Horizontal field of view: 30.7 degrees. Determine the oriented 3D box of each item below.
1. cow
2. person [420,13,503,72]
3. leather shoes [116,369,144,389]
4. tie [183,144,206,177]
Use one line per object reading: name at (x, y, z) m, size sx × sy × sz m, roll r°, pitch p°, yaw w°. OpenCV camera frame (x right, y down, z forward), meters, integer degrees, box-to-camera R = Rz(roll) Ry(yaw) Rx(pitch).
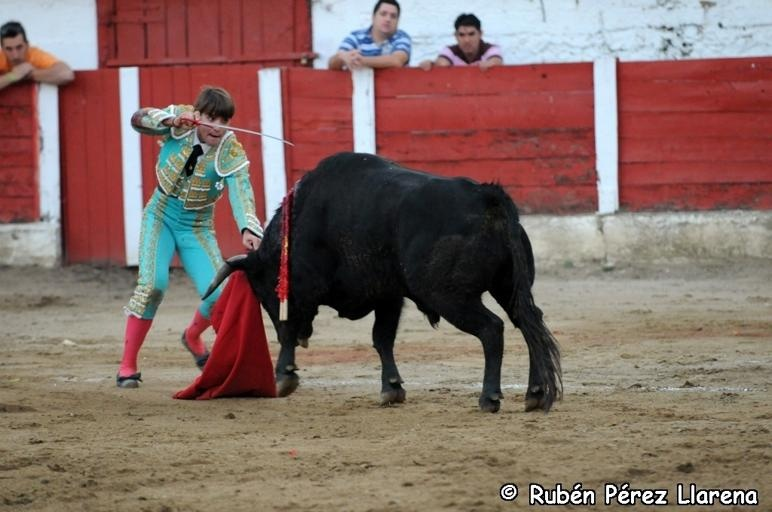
cow at (-0.018, 0.181, 9.924) m, size 2.980 × 1.714 × 0.913 m, roll 0°, pitch -2°, yaw 41°
person at (0.774, -1.954, 13.358) m, size 0.595 × 0.580 × 0.843 m, roll 1°, pitch 16°, yaw 21°
leather shoes at (-1.839, 0.877, 10.038) m, size 0.190 × 0.104 × 0.207 m, roll -5°, pitch 15°, yaw -14°
tie at (-1.365, -0.679, 9.918) m, size 0.048 × 0.198 × 0.149 m, roll 28°, pitch -29°, yaw -4°
